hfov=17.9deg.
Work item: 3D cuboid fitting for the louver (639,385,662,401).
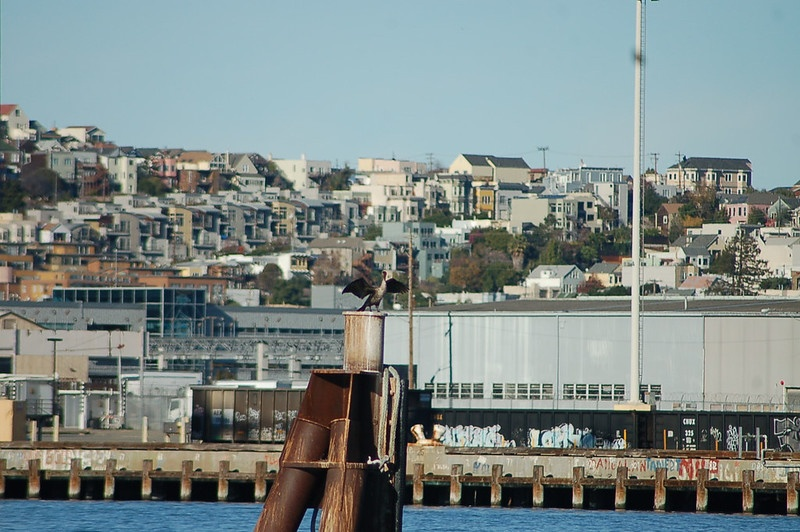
[{"bbox_3d":[20.537,10.934,209.673,1.058,2.099,2.027,-3,-3,36],"label":"louver"}]
